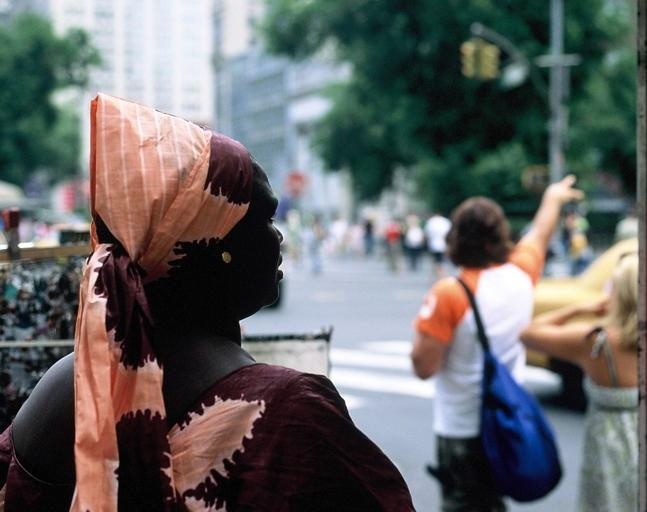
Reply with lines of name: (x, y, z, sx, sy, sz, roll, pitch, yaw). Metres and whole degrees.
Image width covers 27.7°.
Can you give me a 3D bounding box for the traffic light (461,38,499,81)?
traffic light: (2.885, -3.639, 24.152, 0.640, 0.716, 0.653, -5, 4, 11)
